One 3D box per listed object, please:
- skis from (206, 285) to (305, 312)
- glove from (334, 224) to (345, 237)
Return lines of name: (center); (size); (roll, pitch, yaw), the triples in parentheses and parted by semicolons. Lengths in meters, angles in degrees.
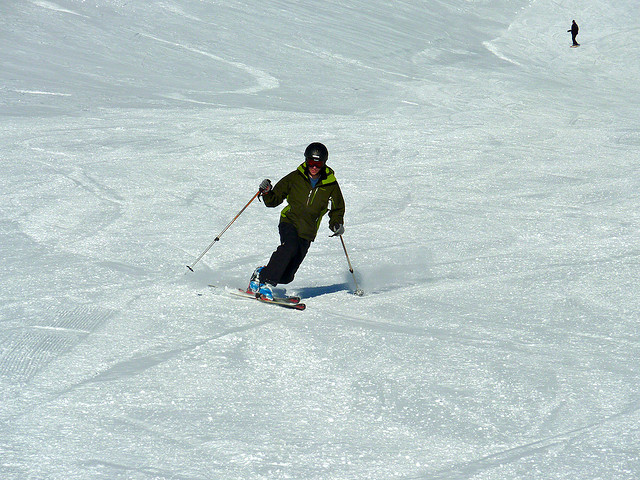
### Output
skis: (-0.645, 0.570, 6.990); (1.552, 0.116, 0.120); (5, 12, 14)
glove: (0.191, -0.111, 7.296); (0.100, 0.136, 0.141); (17, 26, 2)
